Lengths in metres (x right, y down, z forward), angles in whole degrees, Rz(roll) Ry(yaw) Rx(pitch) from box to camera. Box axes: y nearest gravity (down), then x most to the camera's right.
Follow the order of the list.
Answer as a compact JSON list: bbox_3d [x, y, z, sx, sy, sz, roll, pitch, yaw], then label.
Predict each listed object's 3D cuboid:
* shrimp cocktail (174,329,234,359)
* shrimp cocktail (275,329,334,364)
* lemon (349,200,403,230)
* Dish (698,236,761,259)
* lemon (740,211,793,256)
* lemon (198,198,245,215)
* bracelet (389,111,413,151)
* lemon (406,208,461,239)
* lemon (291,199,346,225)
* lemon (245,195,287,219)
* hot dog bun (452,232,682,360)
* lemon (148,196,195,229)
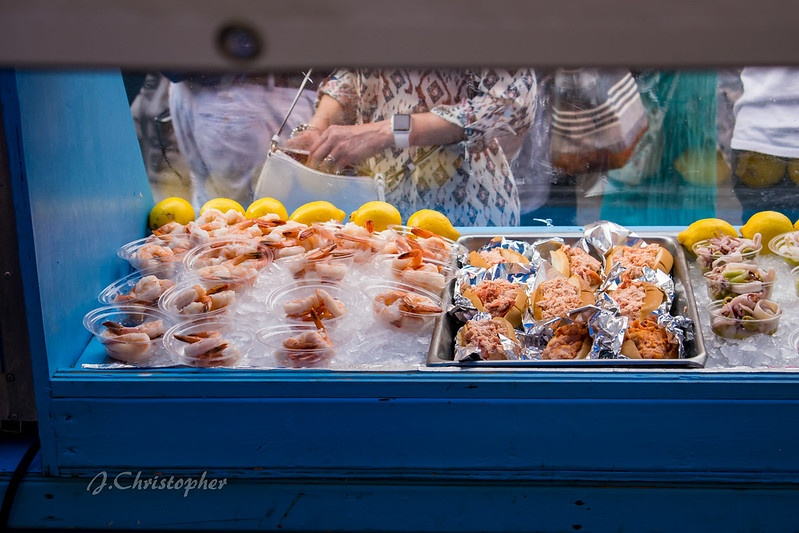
[{"bbox_3d":[-0.548,0.209,1.890,0.100,0.037,0.082,9,12,38],"label":"shrimp cocktail"},{"bbox_3d":[-0.258,0.235,1.892,0.110,0.047,0.117,-3,5,-1],"label":"shrimp cocktail"},{"bbox_3d":[-0.075,-0.174,2.376,0.141,0.104,0.105,2,-16,0],"label":"lemon"},{"bbox_3d":[1.054,-0.057,2.194,0.195,0.070,0.150,2,9,26],"label":"Dish"},{"bbox_3d":[1.245,-0.135,2.352,0.113,0.153,0.159,-18,24,-19],"label":"lemon"},{"bbox_3d":[-0.646,-0.222,2.475,0.130,0.071,0.082,2,-17,-37],"label":"lemon"},{"bbox_3d":[0.013,-0.566,2.887,0.089,0.138,0.134,-1,-25,4],"label":"bracelet"},{"bbox_3d":[0.126,-0.146,2.381,0.147,0.106,0.107,10,9,-4],"label":"lemon"},{"bbox_3d":[-0.297,-0.176,2.415,0.146,0.082,0.091,-6,-8,-6],"label":"lemon"},{"bbox_3d":[-0.472,-0.198,2.443,0.104,0.095,0.096,-7,1,-24],"label":"lemon"},{"bbox_3d":[0.526,0.086,2.114,0.728,0.320,0.546,-1,8,4],"label":"hot dog bun"},{"bbox_3d":[-0.813,-0.167,2.457,0.152,0.151,0.161,-5,-3,-35],"label":"lemon"}]
